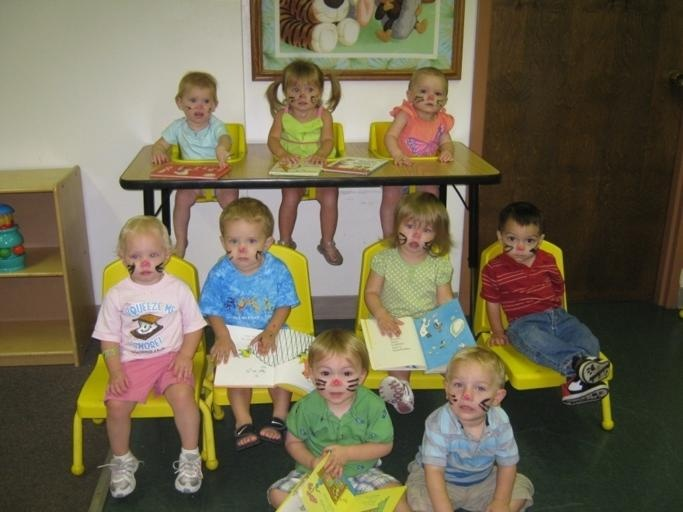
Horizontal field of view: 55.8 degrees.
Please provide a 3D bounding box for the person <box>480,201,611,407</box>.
[{"bbox_3d":[0.924,0.179,2.904,0.418,0.715,0.890,-9,18,-2],"label":"person"}]

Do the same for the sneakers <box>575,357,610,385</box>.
[{"bbox_3d":[1.082,0.492,2.785,0.161,0.092,0.076,8,2,-28],"label":"sneakers"}]

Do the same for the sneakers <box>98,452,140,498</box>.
[{"bbox_3d":[-0.920,0.893,2.686,0.108,0.105,0.233,-6,20,-12],"label":"sneakers"}]

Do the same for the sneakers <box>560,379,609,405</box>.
[{"bbox_3d":[1.059,0.586,2.873,0.220,0.095,0.112,-9,43,8],"label":"sneakers"}]

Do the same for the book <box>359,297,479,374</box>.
[{"bbox_3d":[0.318,0.355,2.749,0.409,0.121,0.311,2,46,-16],"label":"book"}]

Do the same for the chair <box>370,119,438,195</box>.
[{"bbox_3d":[0.313,-0.554,3.574,0.303,0.353,0.404,-4,21,-11],"label":"chair"}]

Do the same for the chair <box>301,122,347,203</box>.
[{"bbox_3d":[-0.145,-0.538,3.648,0.344,0.467,0.383,1,26,1],"label":"chair"}]

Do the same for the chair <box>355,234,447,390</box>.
[{"bbox_3d":[0.181,0.244,3.014,0.548,0.754,0.655,1,9,-2],"label":"chair"}]

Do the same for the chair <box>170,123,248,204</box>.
[{"bbox_3d":[-0.741,-0.494,3.503,0.434,0.267,0.336,2,56,-11],"label":"chair"}]

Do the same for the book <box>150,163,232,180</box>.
[{"bbox_3d":[-0.716,-0.404,3.057,0.360,0.048,0.284,-2,16,3],"label":"book"}]

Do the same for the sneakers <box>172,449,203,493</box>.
[{"bbox_3d":[-0.647,0.890,2.723,0.115,0.107,0.253,8,9,-12],"label":"sneakers"}]

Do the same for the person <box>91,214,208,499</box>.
[{"bbox_3d":[-0.799,0.413,2.690,0.476,1.102,0.453,-7,17,-13],"label":"person"}]

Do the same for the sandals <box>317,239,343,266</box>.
[{"bbox_3d":[-0.074,-0.015,3.766,0.089,0.079,0.187,-31,66,-29],"label":"sandals"}]

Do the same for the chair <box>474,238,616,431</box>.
[{"bbox_3d":[0.881,0.301,3.022,0.480,0.743,0.564,-9,3,6],"label":"chair"}]

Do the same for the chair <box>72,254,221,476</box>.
[{"bbox_3d":[-0.855,0.475,2.843,0.609,0.810,0.604,2,14,-15],"label":"chair"}]
